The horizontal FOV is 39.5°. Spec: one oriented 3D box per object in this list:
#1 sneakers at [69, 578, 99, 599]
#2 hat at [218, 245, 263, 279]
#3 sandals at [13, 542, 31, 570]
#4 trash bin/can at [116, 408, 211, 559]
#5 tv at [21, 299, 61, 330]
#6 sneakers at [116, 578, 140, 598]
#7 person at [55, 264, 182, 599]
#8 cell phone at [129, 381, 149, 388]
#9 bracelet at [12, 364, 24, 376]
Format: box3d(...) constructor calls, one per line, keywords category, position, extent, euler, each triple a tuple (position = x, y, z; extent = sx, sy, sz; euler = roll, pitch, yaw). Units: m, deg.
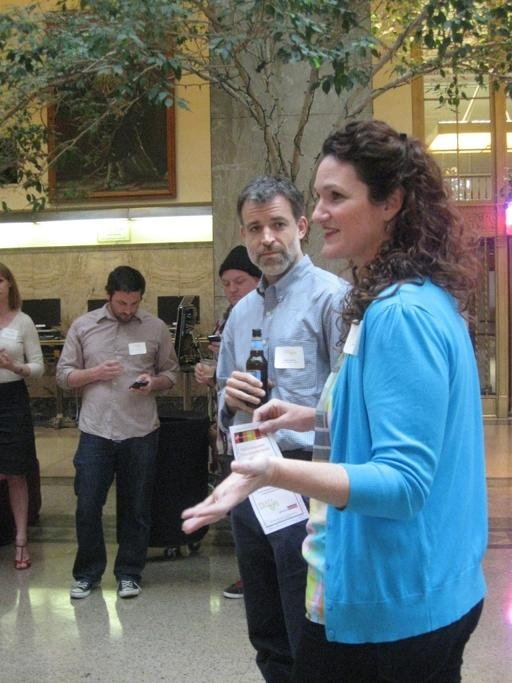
box3d(category="sneakers", position=(-0.883, 1.262, 3.655), extent=(0.094, 0.064, 0.206), euler=(-1, 1, 7))
box3d(category="hat", position=(-0.075, -0.366, 3.373), extent=(0.207, 0.142, 0.138), euler=(17, -11, -17))
box3d(category="sandals", position=(-1.357, 1.235, 4.135), extent=(0.089, 0.131, 0.172), euler=(-2, 2, -18))
box3d(category="trash bin/can", position=(-0.369, 0.822, 4.464), extent=(0.737, 1.007, 0.727), euler=(2, 0, 2))
box3d(category="tv", position=(-2.877, -0.371, 9.603), extent=(0.714, 0.435, 0.171), euler=(-1, -8, 3))
box3d(category="sneakers", position=(-0.648, 1.252, 3.635), extent=(0.115, 0.073, 0.165), euler=(-2, 1, -11))
box3d(category="person", position=(-0.743, 0.443, 3.843), extent=(0.650, 1.710, 0.637), euler=(-2, 2, -9))
box3d(category="cell phone", position=(-0.630, 0.231, 3.822), extent=(0.076, 0.023, 0.036), euler=(-3, 8, 7))
box3d(category="bracelet", position=(-1.409, 0.167, 4.221), extent=(0.061, 0.017, 0.057), euler=(15, -30, -20))
